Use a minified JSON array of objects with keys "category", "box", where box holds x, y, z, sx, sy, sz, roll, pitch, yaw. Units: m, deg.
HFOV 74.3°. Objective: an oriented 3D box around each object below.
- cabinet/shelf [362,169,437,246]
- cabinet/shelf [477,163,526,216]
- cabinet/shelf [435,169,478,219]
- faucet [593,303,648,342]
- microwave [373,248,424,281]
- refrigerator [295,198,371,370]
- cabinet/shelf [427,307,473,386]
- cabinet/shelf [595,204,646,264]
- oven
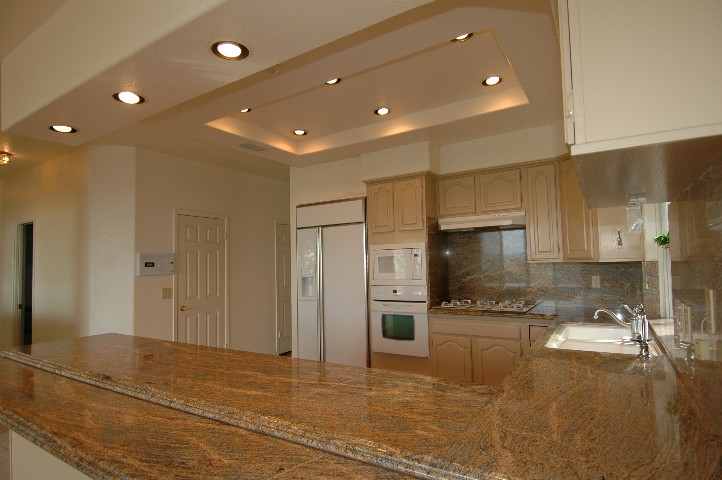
[{"category":"cabinet/shelf","box":[0.436,-0.344,5.017,0.767,0.741,0.398,-4,-8,32]},{"category":"cabinet/shelf","box":[1.418,-0.470,4.810,0.512,0.483,0.290,-3,-3,19]},{"category":"cabinet/shelf","box":[0.993,-0.470,5.065,0.452,0.421,0.254,-4,11,4]},{"category":"faucet","box":[1.569,0.494,2.886,0.319,0.203,0.111,3,1,5]},{"category":"microwave","box":[0.299,0.271,5.095,0.669,0.403,0.409,0,-5,-21]},{"category":"refrigerator","box":[-0.349,0.459,5.454,1.149,1.846,0.534,5,16,29]},{"category":"cabinet/shelf","box":[0.866,1.043,4.636,0.480,0.580,0.255,4,15,25]},{"category":"cabinet/shelf","box":[2.209,-0.018,4.114,0.375,0.532,0.293,1,-16,17]},{"category":"oven","box":[0.300,0.887,5.122,0.702,0.755,0.529,4,-21,-16]}]
